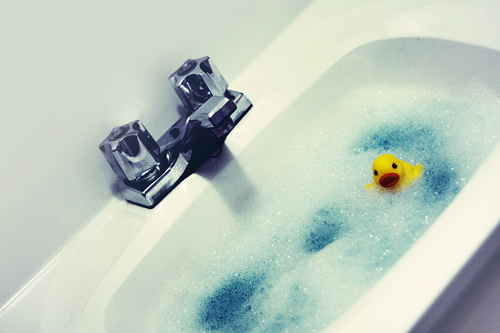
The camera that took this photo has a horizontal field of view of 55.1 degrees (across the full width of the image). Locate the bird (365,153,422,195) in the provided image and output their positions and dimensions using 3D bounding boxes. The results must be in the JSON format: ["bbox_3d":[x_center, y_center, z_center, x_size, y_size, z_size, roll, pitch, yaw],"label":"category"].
[{"bbox_3d":[0.268,0.017,0.900,0.082,0.081,0.052,-27,-75,27],"label":"bird"}]
